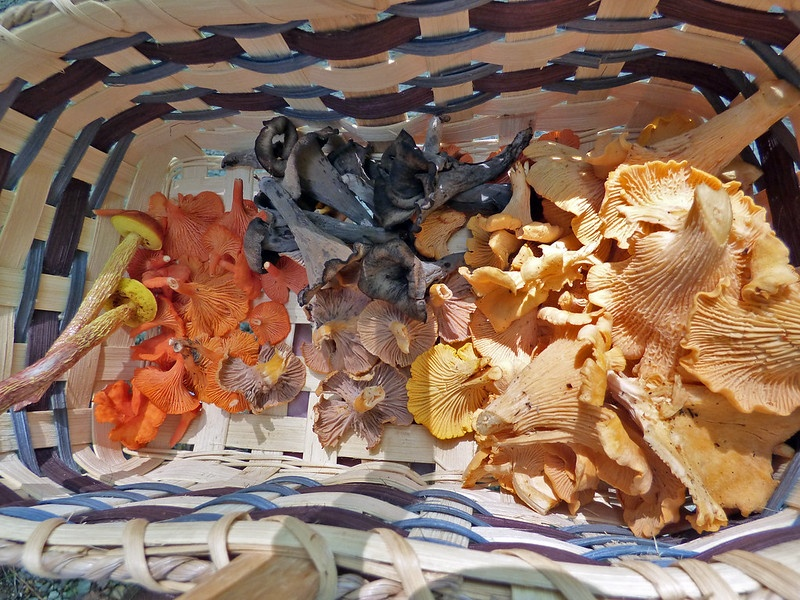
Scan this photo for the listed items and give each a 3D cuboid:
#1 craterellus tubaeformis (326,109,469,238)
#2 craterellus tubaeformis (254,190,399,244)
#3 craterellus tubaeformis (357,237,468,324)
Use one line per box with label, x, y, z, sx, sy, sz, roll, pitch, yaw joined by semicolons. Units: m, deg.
craterellus tubaeformis;0.008;-0.416;2.246;0.440;0.213;0.417;-6;50;3
craterellus tubaeformis;-0.199;-0.276;2.298;0.388;0.055;0.061;27;84;-6
craterellus tubaeformis;-0.010;-0.081;2.300;0.368;0.114;0.339;-17;37;-39
